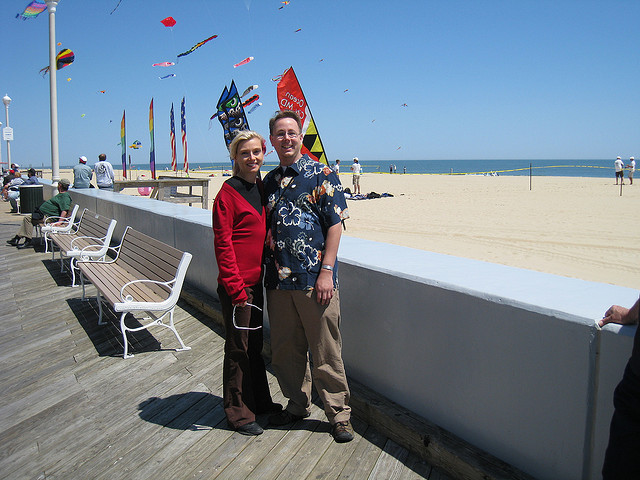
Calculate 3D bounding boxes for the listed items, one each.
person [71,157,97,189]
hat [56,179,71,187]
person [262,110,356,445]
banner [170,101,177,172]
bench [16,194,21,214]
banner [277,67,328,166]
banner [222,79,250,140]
[{"bbox_3d":[-5.912,-1.655,11.240,0.440,0.750,1.594,-5,8,-28],"label":"person"},{"bbox_3d":[-4.185,-0.951,7.372,0.177,0.101,0.129,23,16,-17],"label":"hat"},{"bbox_3d":[-0.084,0.242,3.028,0.631,2.196,0.336,0,7,8],"label":"person"},{"bbox_3d":[-6.767,-4.660,20.689,0.191,2.907,1.490,-4,7,-19],"label":"banner"},{"bbox_3d":[-9.057,-1.101,13.540,0.083,0.552,0.664,-6,8,-33],"label":"bench"},{"bbox_3d":[-0.204,-1.611,6.025,0.447,0.126,2.080,-7,-23,6],"label":"banner"},{"bbox_3d":[-1.391,-2.057,7.164,0.506,1.253,0.052,-4,-26,-11],"label":"banner"}]
